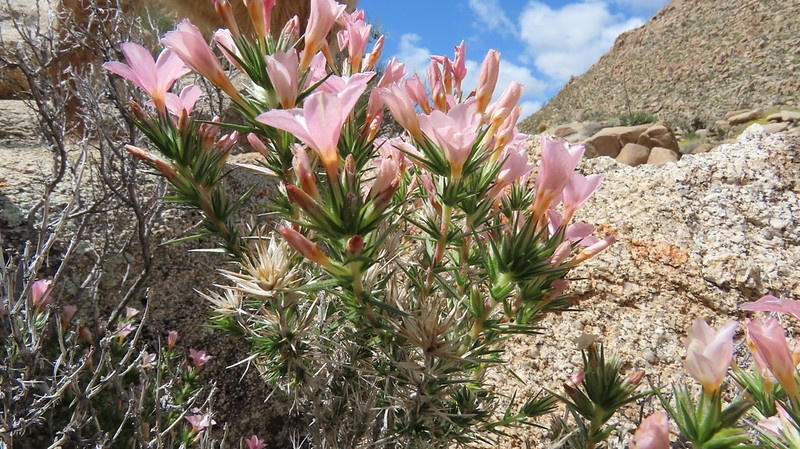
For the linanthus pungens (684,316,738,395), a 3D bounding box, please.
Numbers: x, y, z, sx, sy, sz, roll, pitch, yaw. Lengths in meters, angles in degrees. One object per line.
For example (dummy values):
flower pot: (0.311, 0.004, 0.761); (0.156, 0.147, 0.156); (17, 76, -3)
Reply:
linanthus pungens: (3.151, 1.403, 8.062); (0.458, 0.796, 0.269); (13, 14, 20)
